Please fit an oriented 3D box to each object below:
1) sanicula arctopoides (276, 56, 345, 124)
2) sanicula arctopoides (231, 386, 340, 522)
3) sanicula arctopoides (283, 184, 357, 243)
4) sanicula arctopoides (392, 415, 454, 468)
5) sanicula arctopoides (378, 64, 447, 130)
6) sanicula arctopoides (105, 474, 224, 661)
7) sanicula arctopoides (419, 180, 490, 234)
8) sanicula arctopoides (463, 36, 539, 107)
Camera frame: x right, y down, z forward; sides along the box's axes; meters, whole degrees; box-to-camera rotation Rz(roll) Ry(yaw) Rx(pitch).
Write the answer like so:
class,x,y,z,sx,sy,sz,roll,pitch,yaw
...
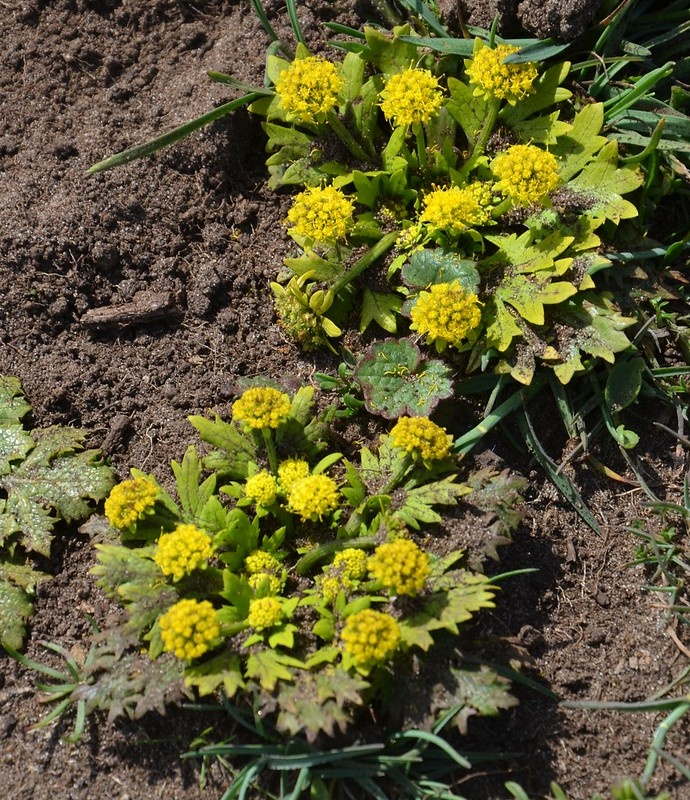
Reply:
class,x,y,z,sx,sy,sz,roll,pitch,yaw
sanicula arctopoides,-0.138,-1.347,3.493,0.341,0.294,0.185,-7,7,11
sanicula arctopoides,-0.263,0.244,3.304,0.309,0.575,0.256,-11,49,10
sanicula arctopoides,-0.116,-0.788,3.391,0.307,0.254,0.155,11,10,-1
sanicula arctopoides,0.303,0.162,3.272,0.246,0.140,0.219,12,35,-18
sanicula arctopoides,0.293,-1.320,3.397,0.330,0.272,0.164,1,7,9
sanicula arctopoides,-0.666,0.669,3.210,0.472,0.319,0.771,-17,61,-10
sanicula arctopoides,0.489,-0.844,3.399,0.270,0.131,0.257,16,36,22
sanicula arctopoides,0.654,-1.393,3.342,0.323,0.269,0.141,6,11,6
